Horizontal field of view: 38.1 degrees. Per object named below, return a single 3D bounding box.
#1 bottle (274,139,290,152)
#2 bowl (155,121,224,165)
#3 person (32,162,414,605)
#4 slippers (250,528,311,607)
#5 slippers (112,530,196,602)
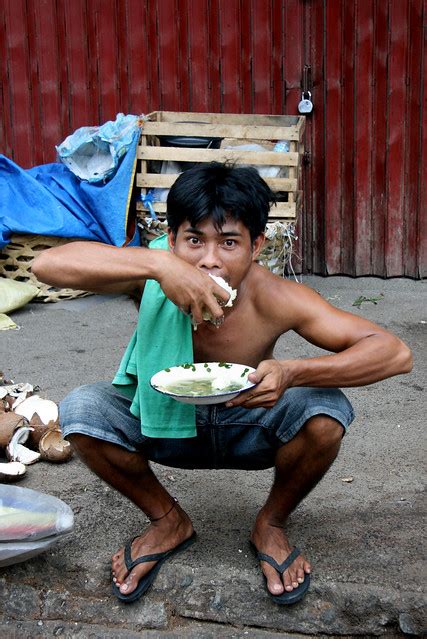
[{"bbox_3d":[0.563,-1.388,5.020,0.130,0.111,0.123,-3,11,-9],"label":"bottle"},{"bbox_3d":[-0.200,-1.415,5.076,0.500,0.383,0.489,-1,6,0],"label":"bowl"},{"bbox_3d":[0.014,0.204,1.997,1.105,1.402,0.518,1,8,15],"label":"person"},{"bbox_3d":[0.219,0.787,2.011,0.139,0.078,0.355,-8,8,-12],"label":"slippers"},{"bbox_3d":[-0.216,0.812,2.031,0.293,0.076,0.116,-38,42,-16],"label":"slippers"}]
